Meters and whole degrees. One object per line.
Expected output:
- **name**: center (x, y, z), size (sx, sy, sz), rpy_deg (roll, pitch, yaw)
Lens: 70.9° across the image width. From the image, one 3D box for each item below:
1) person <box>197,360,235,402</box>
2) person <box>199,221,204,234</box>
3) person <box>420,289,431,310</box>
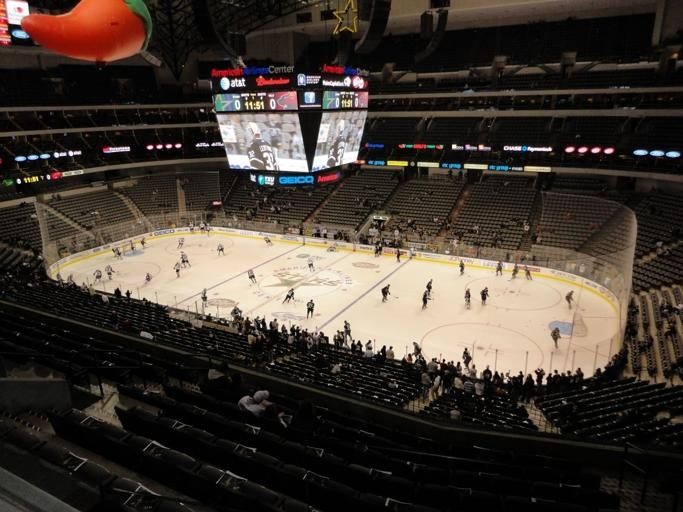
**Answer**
- **person**: center (-3.387, 3.496, 13.334), size (0.857, 0.977, 0.895), rpy_deg (20, 30, 30)
- **person**: center (-13.458, -2.742, 46.331), size (0.456, 0.967, 1.096), rpy_deg (10, 2, -28)
- **person**: center (5.072, 2.626, 28.808), size (0.601, 1.223, 0.546), rpy_deg (-16, 40, -12)
